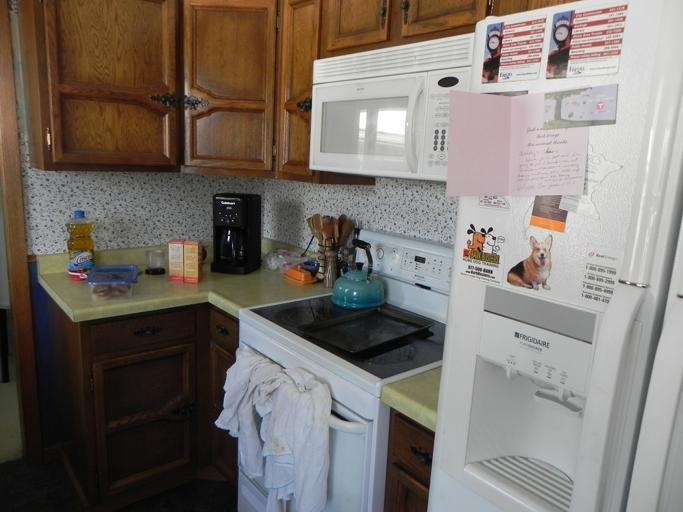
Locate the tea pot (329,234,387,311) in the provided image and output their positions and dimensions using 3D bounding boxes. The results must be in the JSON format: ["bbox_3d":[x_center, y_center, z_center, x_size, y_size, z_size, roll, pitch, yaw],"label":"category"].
[{"bbox_3d":[0.071,0.057,2.162,0.241,0.298,0.270,-1,13,-16],"label":"tea pot"}]

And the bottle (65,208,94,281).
[{"bbox_3d":[-1.290,-0.061,2.460,0.134,0.398,0.135,3,14,-1],"label":"bottle"}]

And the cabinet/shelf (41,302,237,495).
[{"bbox_3d":[-0.979,0.642,2.378,0.720,1.035,0.713,-4,16,-36],"label":"cabinet/shelf"}]

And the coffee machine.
[{"bbox_3d":[-0.554,-0.127,2.601,0.219,0.464,0.236,3,16,-4],"label":"coffee machine"}]

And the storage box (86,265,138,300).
[{"bbox_3d":[-1.052,0.107,2.298,0.204,0.096,0.301,-5,15,-25],"label":"storage box"}]
